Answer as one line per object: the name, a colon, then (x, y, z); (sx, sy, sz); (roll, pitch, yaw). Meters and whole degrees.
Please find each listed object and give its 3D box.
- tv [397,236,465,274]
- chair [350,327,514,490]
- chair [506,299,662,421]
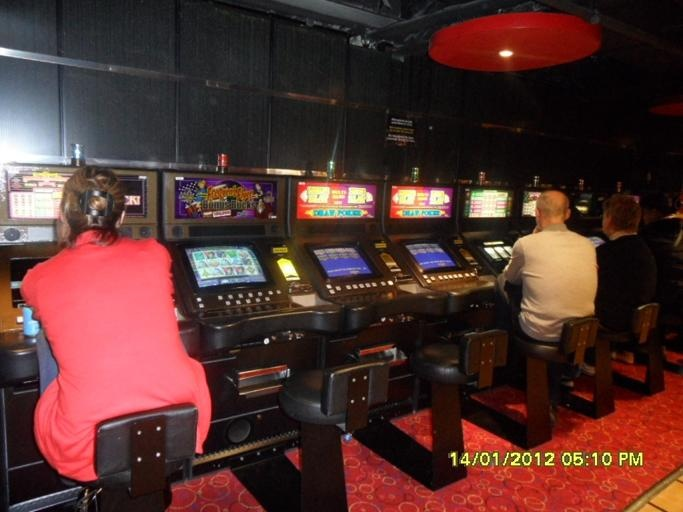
tv: (0.732, -0.002, 4.059); (0.490, 0.206, 0.346); (-8, 16, -37)
chair: (0.620, 0.899, 3.588); (0.709, 1.179, 1.260); (-3, 10, -26)
chair: (1.892, 0.829, 3.917); (1.060, 0.588, 0.536); (-4, 10, -23)
